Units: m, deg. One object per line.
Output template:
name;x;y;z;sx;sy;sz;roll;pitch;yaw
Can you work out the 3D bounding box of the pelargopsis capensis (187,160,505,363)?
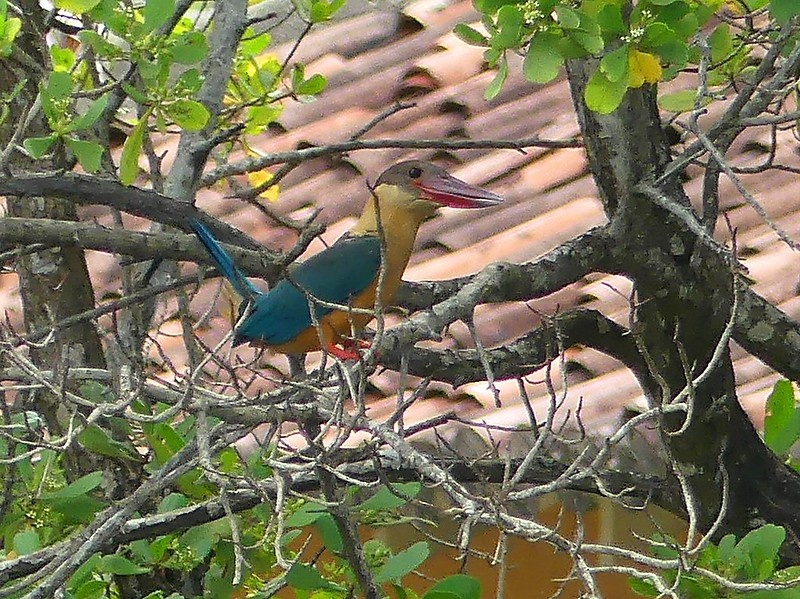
pelargopsis capensis;-0.157;-0.111;5.097;0.946;0.518;0.270;-6;0;6
